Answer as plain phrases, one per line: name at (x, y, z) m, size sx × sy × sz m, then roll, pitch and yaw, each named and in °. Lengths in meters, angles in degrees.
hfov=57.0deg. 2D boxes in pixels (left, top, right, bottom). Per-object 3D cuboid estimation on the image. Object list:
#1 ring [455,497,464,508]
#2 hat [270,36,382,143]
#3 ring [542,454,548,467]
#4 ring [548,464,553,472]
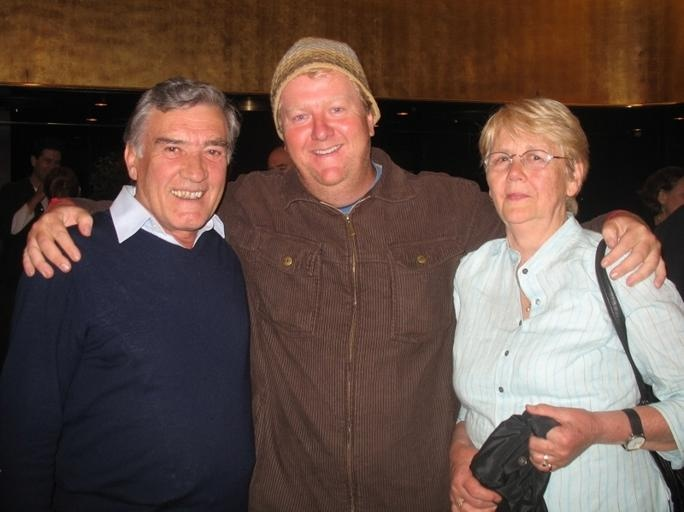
ring at (0.489, 1.024, 2.604) m, size 0.028 × 0.035 × 0.010 m, roll -9°, pitch -12°, yaw 43°
hat at (-0.083, -0.832, 3.123) m, size 0.465 × 0.295 × 0.558 m, roll -3°, pitch 1°, yaw 2°
ring at (0.789, 0.795, 2.431) m, size 0.025 × 0.040 × 0.042 m, roll 1°, pitch 7°, yaw 3°
ring at (0.807, 0.821, 2.434) m, size 0.016 × 0.020 × 0.007 m, roll -9°, pitch -5°, yaw 23°
